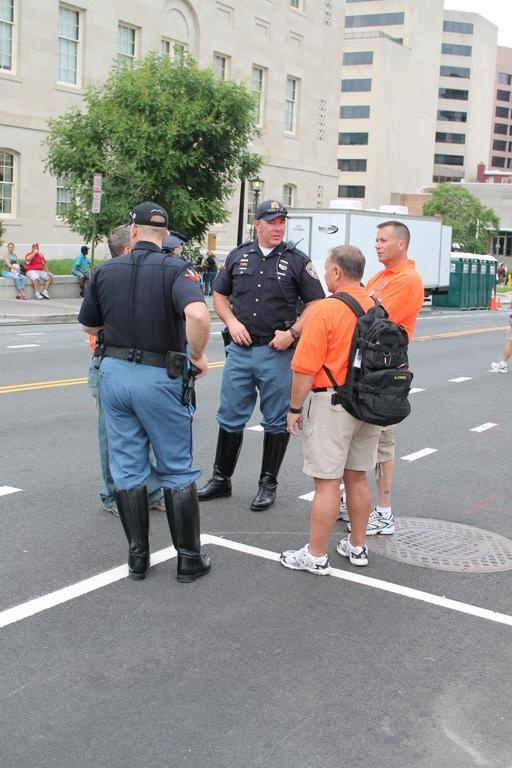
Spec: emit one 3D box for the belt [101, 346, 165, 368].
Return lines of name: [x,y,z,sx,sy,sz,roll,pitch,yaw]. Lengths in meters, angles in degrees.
belt: [-0.607,-0.132,3.323,0.367,0.089,0.096,5,5,33]

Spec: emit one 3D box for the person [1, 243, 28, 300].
person: [-7.791,-3.625,21.811,0.762,1.844,1.270,1,4,-21]

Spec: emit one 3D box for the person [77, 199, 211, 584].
person: [-0.555,0.033,3.391,0.686,1.911,0.449,3,4,7]

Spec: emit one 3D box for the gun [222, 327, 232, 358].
gun: [-0.217,-0.300,4.985,0.074,0.202,0.144,5,13,-6]

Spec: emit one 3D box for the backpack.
backpack: [0.590,-0.117,3.463,0.471,0.687,0.242,2,4,-4]

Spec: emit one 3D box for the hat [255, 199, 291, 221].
hat: [0.101,-1.138,4.495,0.142,0.108,0.190,-4,8,-21]

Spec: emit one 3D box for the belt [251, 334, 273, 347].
belt: [0.041,-0.297,4.739,0.142,0.079,0.034,2,4,-6]
